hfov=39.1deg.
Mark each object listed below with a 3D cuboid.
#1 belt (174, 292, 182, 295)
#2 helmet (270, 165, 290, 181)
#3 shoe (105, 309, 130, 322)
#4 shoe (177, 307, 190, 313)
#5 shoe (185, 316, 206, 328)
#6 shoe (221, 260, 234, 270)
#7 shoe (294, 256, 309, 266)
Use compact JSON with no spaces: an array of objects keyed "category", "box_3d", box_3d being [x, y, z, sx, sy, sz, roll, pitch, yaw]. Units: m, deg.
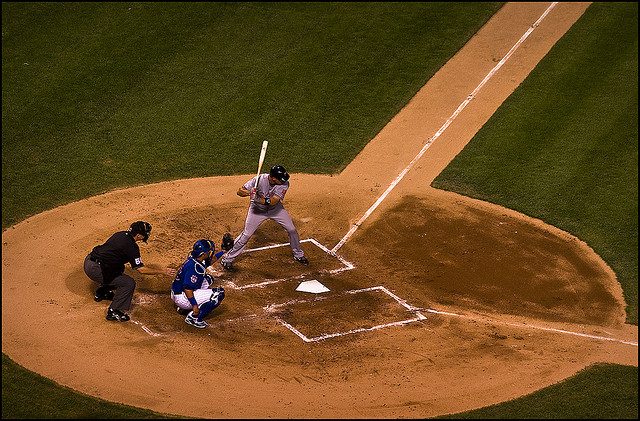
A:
[{"category":"belt","box_3d":[-4.062,2.382,25.718,0.203,0.068,0.040,-1,5,0]},{"category":"helmet","box_3d":[-1.152,-1.149,27.047,0.587,0.398,0.364,30,33,-13]},{"category":"shoe","box_3d":[-5.824,3.044,25.869,0.726,0.374,0.286,0,18,-1]},{"category":"shoe","box_3d":[-3.989,2.930,26.057,0.291,0.125,0.135,10,78,0]},{"category":"shoe","box_3d":[-3.601,3.240,25.727,0.726,0.271,0.222,17,39,-1]},{"category":"shoe","box_3d":[-2.815,1.709,27.525,0.339,0.198,0.240,-1,78,-3]},{"category":"shoe","box_3d":[-0.555,1.564,27.902,0.469,0.186,0.169,20,53,18]}]
